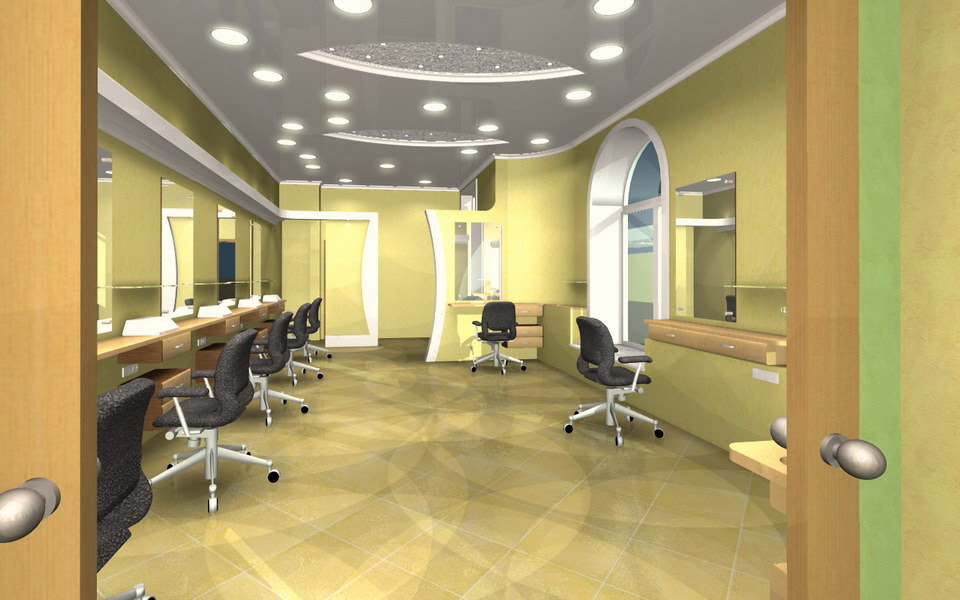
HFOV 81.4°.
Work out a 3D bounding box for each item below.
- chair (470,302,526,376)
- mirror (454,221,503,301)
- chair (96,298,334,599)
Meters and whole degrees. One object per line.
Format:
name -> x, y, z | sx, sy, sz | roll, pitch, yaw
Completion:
chair -> 0.177, 0.563, 8.580 | 1.109, 1.154, 0.992 | 0, 1, -13
mirror -> -0.048, -0.649, 9.213 | 0.738, 1.270, 0.173 | 0, 8, -3
chair -> -1.862, 0.947, 4.012 | 1.303, 1.302, 1.363 | 1, -1, -3
